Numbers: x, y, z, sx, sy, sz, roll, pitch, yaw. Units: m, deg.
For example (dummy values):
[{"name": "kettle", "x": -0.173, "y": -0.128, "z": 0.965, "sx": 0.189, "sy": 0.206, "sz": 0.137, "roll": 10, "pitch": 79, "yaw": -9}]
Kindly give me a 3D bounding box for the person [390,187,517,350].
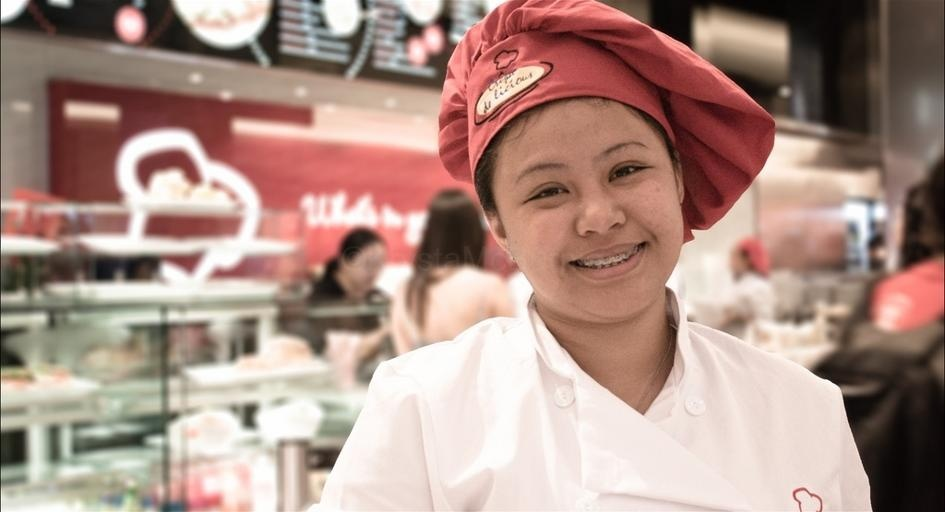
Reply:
[{"name": "person", "x": -0.103, "y": 0.249, "z": 3.914, "sx": 0.549, "sy": 1.154, "sz": 0.331, "roll": 9, "pitch": 28, "yaw": 14}]
